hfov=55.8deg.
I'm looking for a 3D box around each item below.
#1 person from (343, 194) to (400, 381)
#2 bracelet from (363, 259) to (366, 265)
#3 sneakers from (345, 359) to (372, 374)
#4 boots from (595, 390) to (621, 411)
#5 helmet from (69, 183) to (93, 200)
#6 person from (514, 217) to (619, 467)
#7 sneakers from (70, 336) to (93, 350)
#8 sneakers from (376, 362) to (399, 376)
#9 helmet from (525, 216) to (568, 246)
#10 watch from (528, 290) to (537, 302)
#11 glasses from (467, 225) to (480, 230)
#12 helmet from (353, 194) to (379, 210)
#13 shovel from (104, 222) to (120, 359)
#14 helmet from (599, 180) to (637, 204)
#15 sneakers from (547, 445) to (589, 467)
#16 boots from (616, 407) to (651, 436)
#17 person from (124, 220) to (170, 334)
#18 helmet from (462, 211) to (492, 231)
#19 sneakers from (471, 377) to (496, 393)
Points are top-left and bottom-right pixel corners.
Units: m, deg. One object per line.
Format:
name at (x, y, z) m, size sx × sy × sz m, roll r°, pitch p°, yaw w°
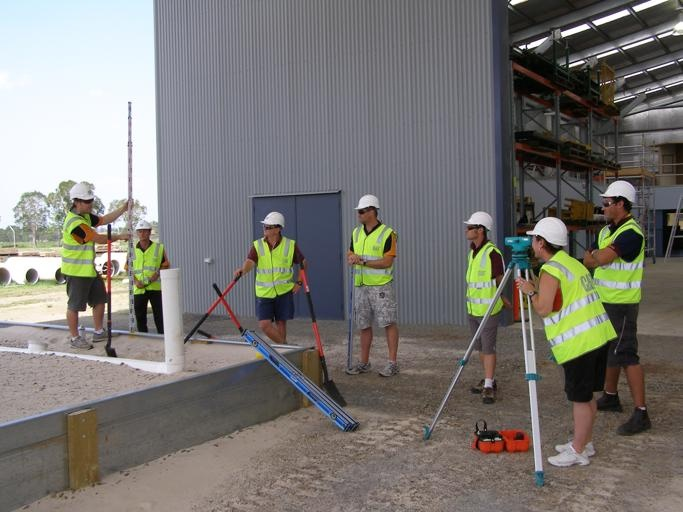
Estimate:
person at (0.393, 0.365, 8.040) m, size 0.627 × 2.195 × 0.519 m, roll 0°, pitch 5°, yaw 11°
bracelet at (0.278, 0.070, 7.926) m, size 0.035 × 0.063 × 0.054 m, roll 3°, pitch -10°, yaw 0°
sneakers at (0.212, 1.407, 8.088) m, size 0.335 × 0.165 × 0.127 m, roll 3°, pitch -3°, yaw -19°
boots at (2.713, 1.489, 6.600) m, size 0.316 × 0.230 × 0.123 m, roll 2°, pitch -1°, yaw 9°
helmet at (-3.269, -0.795, 8.130) m, size 0.289 × 0.223 × 0.316 m, roll -3°, pitch 6°, yaw -22°
person at (1.911, 0.736, 5.433) m, size 0.778 × 2.098 × 0.294 m, roll -1°, pitch 5°, yaw -1°
sneakers at (-3.234, 1.074, 8.003) m, size 0.290 × 0.150 × 0.142 m, roll 4°, pitch 4°, yaw 26°
sneakers at (0.567, 1.396, 7.923) m, size 0.112 × 0.144 × 0.284 m, roll -2°, pitch -3°, yaw 35°
helmet at (1.740, -0.199, 5.442) m, size 0.296 × 0.180 × 0.219 m, roll 28°, pitch 24°, yaw 36°
watch at (1.575, 0.328, 5.295) m, size 0.081 × 0.084 × 0.055 m, roll -23°, pitch 26°, yaw -30°
glasses at (1.473, -0.306, 7.114) m, size 0.064 × 0.040 × 0.085 m, roll 2°, pitch -2°, yaw 31°
helmet at (0.318, -0.643, 7.994) m, size 0.275 × 0.177 × 0.236 m, roll 2°, pitch 1°, yaw -10°
shovel at (-2.710, 0.393, 7.556) m, size 0.166 × 1.636 × 0.200 m, roll -14°, pitch -15°, yaw 34°
helmet at (2.789, -0.637, 6.476) m, size 0.276 × 0.194 × 0.230 m, roll 6°, pitch 6°, yaw 11°
sneakers at (1.938, 1.721, 5.560) m, size 0.342 × 0.184 × 0.152 m, roll 1°, pitch -2°, yaw -1°
boots at (2.744, 1.559, 6.130) m, size 0.380 × 0.270 × 0.163 m, roll -4°, pitch 1°, yaw -26°
person at (-2.758, 0.354, 9.335) m, size 0.480 × 1.653 × 0.550 m, roll -3°, pitch 5°, yaw -17°
helmet at (1.544, -0.379, 7.175) m, size 0.335 × 0.203 × 0.264 m, roll 18°, pitch 0°, yaw 5°
sneakers at (1.626, 1.449, 7.204) m, size 0.368 × 0.184 × 0.125 m, roll 4°, pitch -5°, yaw -39°
